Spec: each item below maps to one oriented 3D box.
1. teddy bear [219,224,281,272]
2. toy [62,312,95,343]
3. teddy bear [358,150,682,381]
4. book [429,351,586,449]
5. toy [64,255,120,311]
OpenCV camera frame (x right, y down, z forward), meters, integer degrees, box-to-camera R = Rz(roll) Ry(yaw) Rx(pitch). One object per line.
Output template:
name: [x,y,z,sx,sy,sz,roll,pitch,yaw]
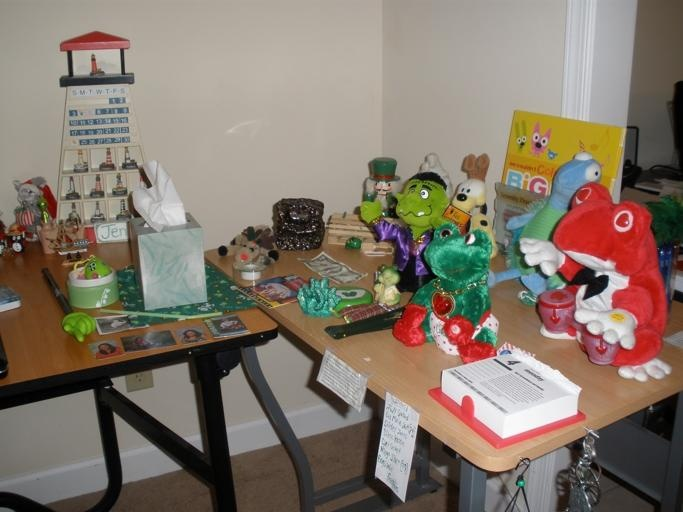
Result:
teddy bear: [-0.302,-0.053,1.754,0.197,0.111,0.264,9,21,-11]
toy: [-0.655,0.172,1.320,0.072,0.064,0.060,6,18,30]
teddy bear: [0.508,0.045,1.309,0.489,0.325,0.515,-5,24,-2]
book: [0.322,0.269,1.032,0.237,0.078,0.184,-9,17,-19]
toy: [-0.671,0.081,1.418,0.137,0.144,0.134,-5,19,-26]
